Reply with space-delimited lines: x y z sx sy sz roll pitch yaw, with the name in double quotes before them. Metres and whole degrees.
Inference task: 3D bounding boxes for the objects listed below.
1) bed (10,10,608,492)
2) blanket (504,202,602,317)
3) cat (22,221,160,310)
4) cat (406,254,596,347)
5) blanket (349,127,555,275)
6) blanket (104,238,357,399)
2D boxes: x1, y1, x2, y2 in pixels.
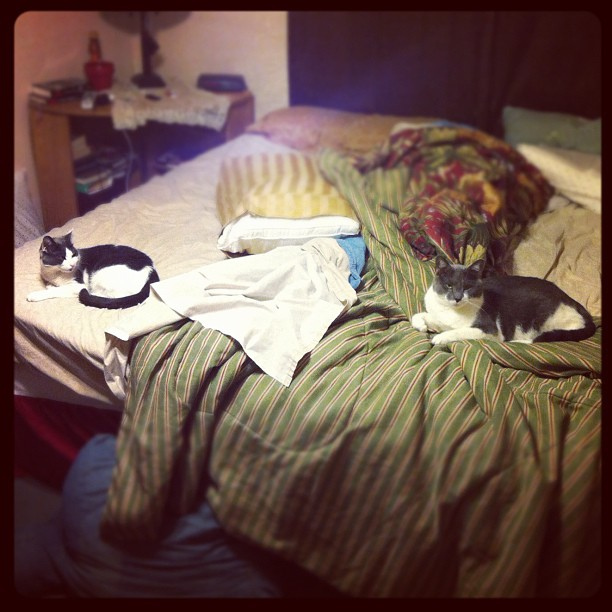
"bed" 0.073 -0.025 1.794 1.308 0.847 1.257 -32 52 -24
"blanket" 0.649 -0.147 1.564 0.246 0.263 0.318 11 29 19
"cat" -0.521 -0.082 1.489 0.262 0.162 0.195 5 36 4
"cat" 0.495 0.005 1.458 0.338 0.171 0.229 -4 18 0
"blanket" 0.428 -0.299 1.753 0.454 0.392 0.595 -18 32 -22
"blanket" -0.174 -0.126 1.496 0.631 0.333 0.482 -5 28 -8
